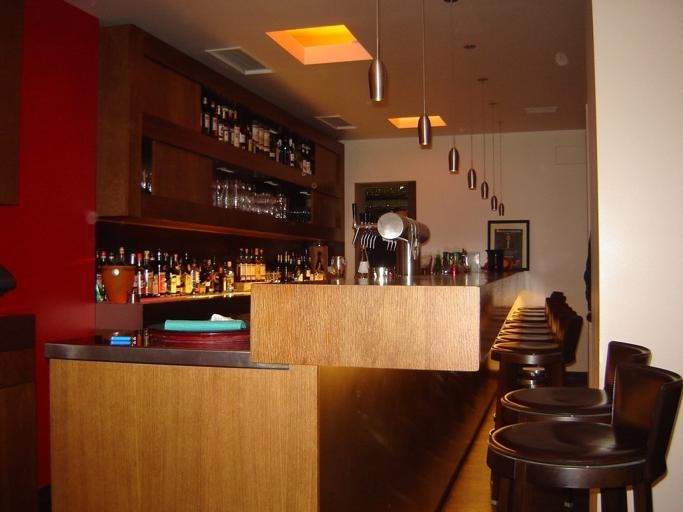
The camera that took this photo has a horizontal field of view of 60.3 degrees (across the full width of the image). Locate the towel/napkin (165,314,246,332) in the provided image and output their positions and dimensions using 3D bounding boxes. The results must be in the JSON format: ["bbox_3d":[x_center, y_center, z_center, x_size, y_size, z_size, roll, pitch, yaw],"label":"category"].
[{"bbox_3d":[-0.559,0.270,2.392,0.363,0.057,0.233,-1,-1,-4],"label":"towel/napkin"}]

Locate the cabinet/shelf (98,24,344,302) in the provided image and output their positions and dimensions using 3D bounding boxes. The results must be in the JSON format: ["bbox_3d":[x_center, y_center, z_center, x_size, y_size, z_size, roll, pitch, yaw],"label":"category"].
[{"bbox_3d":[-0.934,-0.627,5.917,0.651,1.936,3.916,-1,-1,21],"label":"cabinet/shelf"}]

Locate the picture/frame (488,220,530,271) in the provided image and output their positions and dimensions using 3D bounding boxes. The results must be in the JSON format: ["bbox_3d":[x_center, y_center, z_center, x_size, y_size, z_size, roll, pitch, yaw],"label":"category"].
[{"bbox_3d":[1.992,-0.125,6.911,0.529,0.744,0.069,0,-9,15],"label":"picture/frame"}]

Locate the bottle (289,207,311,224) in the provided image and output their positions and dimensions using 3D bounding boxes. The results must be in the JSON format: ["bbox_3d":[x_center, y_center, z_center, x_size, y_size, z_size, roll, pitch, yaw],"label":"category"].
[{"bbox_3d":[-0.471,-0.476,6.704,0.187,0.193,0.049,11,-26,-31],"label":"bottle"}]

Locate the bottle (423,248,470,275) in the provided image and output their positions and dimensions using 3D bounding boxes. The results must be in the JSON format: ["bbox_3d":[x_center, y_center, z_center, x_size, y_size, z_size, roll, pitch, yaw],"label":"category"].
[{"bbox_3d":[0.947,0.051,5.245,0.182,0.305,0.696,1,2,-22],"label":"bottle"}]
